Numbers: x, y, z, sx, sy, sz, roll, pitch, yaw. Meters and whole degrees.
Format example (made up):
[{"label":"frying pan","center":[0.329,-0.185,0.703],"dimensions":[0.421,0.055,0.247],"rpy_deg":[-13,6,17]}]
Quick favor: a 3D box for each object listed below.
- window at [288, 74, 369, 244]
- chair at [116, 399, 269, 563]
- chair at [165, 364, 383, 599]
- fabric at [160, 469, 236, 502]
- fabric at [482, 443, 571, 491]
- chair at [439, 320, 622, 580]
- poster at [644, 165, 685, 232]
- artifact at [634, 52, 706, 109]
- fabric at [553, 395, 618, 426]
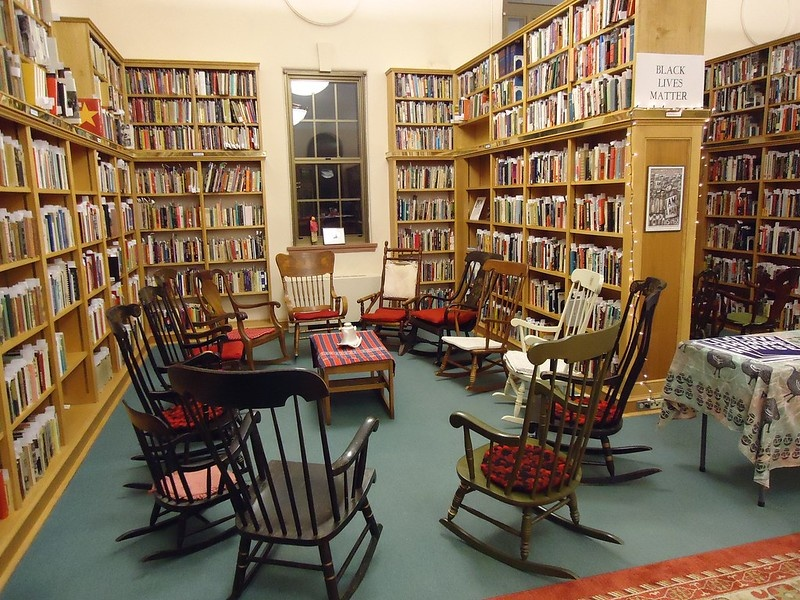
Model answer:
[{"label":"window","center":[-0.954,-1.892,7.685],"dimensions":[1.082,2.244,0.178],"rpy_deg":[-5,11,-13]},{"label":"chair","center":[-1.264,1.025,3.419],"dimensions":[0.852,0.817,0.536],"rpy_deg":[-4,7,-38]},{"label":"chair","center":[-0.754,1.093,3.279],"dimensions":[0.823,1.524,1.105],"rpy_deg":[3,19,12]},{"label":"fabric","center":[-1.187,1.078,3.315],"dimensions":[0.298,0.037,0.298],"rpy_deg":[13,13,43]},{"label":"fabric","center":[0.745,0.958,3.342],"dimensions":[0.439,0.062,0.506],"rpy_deg":[-3,11,10]},{"label":"chair","center":[0.760,0.816,3.381],"dimensions":[1.026,1.440,1.106],"rpy_deg":[0,13,-1]},{"label":"poster","center":[2.170,-0.833,4.672],"dimensions":[0.284,0.547,0.039],"rpy_deg":[2,-5,29]},{"label":"artifact","center":[2.196,-1.759,4.584],"dimensions":[0.684,0.440,0.190],"rpy_deg":[-8,12,-26]},{"label":"fabric","center":[1.169,0.702,3.605],"dimensions":[0.281,0.093,0.285],"rpy_deg":[5,9,43]}]
